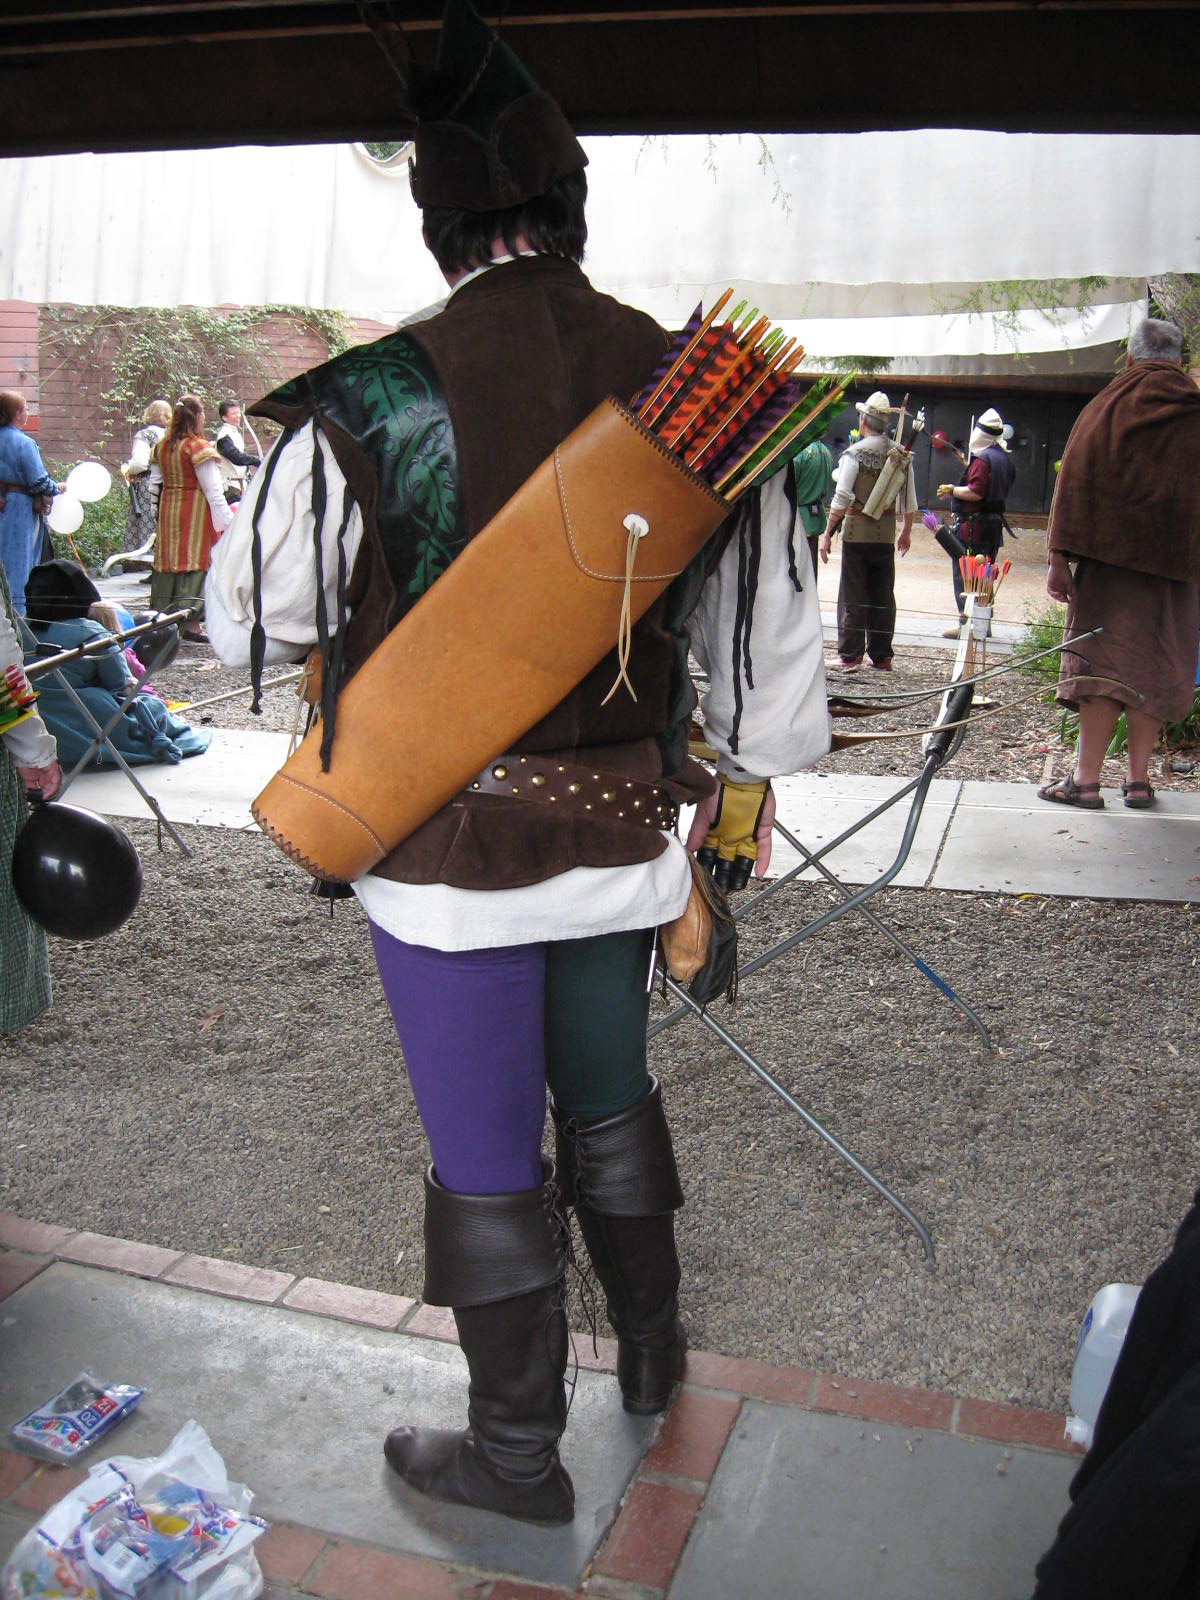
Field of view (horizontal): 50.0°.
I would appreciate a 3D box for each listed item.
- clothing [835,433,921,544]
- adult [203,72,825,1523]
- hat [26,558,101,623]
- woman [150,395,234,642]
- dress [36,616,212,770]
[{"bbox_3d":[1.757,-1.994,8.266,0.484,0.667,0.639,4,9,13],"label":"clothing"},{"bbox_3d":[-0.171,-0.011,1.657,0.799,1.661,0.649,-6,13,-34],"label":"adult"},{"bbox_3d":[-1.937,-0.757,4.618,0.232,0.229,0.254,-1,9,-21],"label":"hat"},{"bbox_3d":[-2.724,-1.866,8.572,0.685,1.408,0.460,9,11,32],"label":"woman"},{"bbox_3d":[-1.996,-0.473,5.431,0.691,0.636,0.515,0,-4,14],"label":"dress"}]
